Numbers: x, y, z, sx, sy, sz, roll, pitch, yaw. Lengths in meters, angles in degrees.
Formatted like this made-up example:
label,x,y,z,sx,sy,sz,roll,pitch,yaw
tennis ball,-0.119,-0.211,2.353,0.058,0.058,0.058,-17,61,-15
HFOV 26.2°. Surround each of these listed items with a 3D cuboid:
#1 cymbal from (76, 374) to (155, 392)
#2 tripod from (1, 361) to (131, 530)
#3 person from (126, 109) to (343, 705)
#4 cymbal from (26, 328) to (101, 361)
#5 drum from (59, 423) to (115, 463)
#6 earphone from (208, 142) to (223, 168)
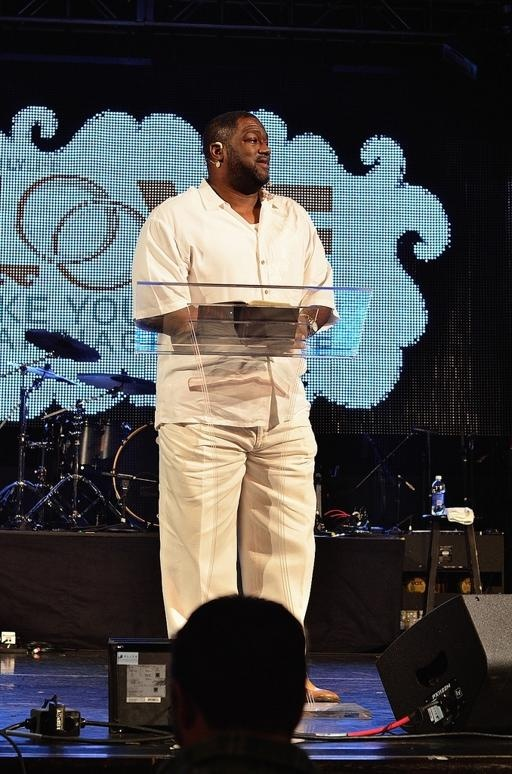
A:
label,x,y,z,sx,sy,sz,roll,pitch,yaw
cymbal,-0.736,-0.017,5.683,0.188,0.043,0.176,11,-17,-18
tripod,-1.160,0.258,5.967,0.414,0.816,1.100,4,1,-13
person,-0.028,0.052,2.904,0.648,1.466,0.638,4,1,-7
cymbal,-1.004,-0.211,5.554,0.301,0.133,0.301,4,1,32
drum,-0.989,0.315,6.351,0.275,0.213,0.244,1,0,-32
earphone,-0.111,-0.653,3.095,0.053,0.062,0.059,10,24,6
